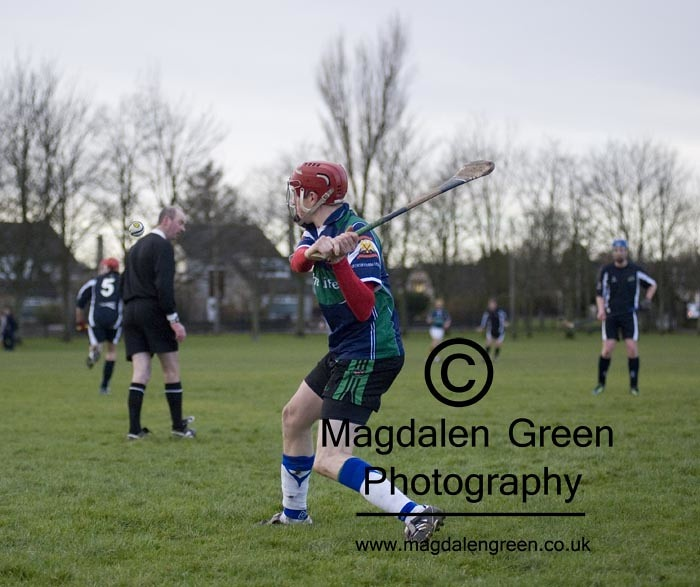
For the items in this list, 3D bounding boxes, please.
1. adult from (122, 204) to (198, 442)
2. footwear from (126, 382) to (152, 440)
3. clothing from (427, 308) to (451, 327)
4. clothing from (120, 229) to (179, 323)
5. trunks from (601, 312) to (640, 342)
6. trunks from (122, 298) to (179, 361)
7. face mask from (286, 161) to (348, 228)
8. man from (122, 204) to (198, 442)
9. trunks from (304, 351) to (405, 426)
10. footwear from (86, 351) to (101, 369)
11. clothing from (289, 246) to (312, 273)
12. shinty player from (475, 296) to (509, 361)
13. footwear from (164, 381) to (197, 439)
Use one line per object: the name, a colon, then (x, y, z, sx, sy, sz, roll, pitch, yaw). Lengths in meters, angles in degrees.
adult: (-1.983, 0.310, 13.038, 0.924, 2.444, 0.993, -1, -3, 1)
footwear: (-2.142, 1.187, 12.805, 0.149, 0.581, 0.375, 1, 2, 19)
clothing: (2.049, 0.479, 28.440, 0.534, 0.651, 0.352, 1, -8, 1)
clothing: (-2.101, -0.182, 13.014, 0.405, 0.938, 0.909, 10, -10, -42)
trunks: (3.142, 0.392, 14.537, 0.444, 0.489, 0.291, 0, 1, 15)
trunks: (-2.095, 0.271, 12.912, 0.517, 0.726, 0.440, -10, 21, -3)
face mask: (-0.246, -0.804, 10.032, 0.485, 0.539, 0.417, 2, 5, 12)
man: (-1.957, 0.310, 13.030, 0.731, 2.439, 0.740, -4, -5, 39)
trunks: (0.001, 0.707, 10.234, 0.492, 0.839, 0.874, 18, -6, -20)
footwear: (-2.678, 0.696, 13.110, 0.074, 0.169, 0.209, 2, 9, 6)
clothing: (-0.366, -0.258, 9.792, 0.181, 0.210, 0.332, 0, 10, -3)
shinty player: (3.004, 0.783, 26.046, 0.541, 1.335, 0.396, 1, -24, 9)
footwear: (-1.709, 1.216, 12.951, 0.360, 0.579, 0.173, -4, 10, 21)
